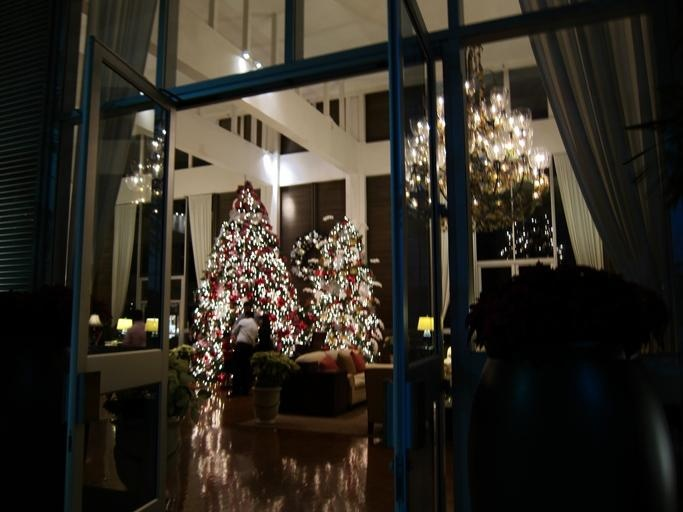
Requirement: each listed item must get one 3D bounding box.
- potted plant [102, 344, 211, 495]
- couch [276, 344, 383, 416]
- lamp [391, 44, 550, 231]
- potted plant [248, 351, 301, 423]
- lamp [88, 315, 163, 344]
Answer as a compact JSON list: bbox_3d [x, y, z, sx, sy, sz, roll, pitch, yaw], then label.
[{"bbox_3d":[-1.193,1.017,4.157,0.507,0.993,0.853,-1,-7,2],"label":"potted plant"},{"bbox_3d":[0.123,1.783,8.721,0.646,0.874,2.201,-6,-9,26],"label":"couch"},{"bbox_3d":[0.591,-0.638,3.493,0.702,1.263,0.792,-1,0,-17],"label":"lamp"},{"bbox_3d":[-0.794,1.491,7.334,0.601,0.912,0.645,0,-2,28],"label":"potted plant"},{"bbox_3d":[-1.322,0.460,3.705,0.382,0.181,0.102,3,-6,-38],"label":"lamp"}]
